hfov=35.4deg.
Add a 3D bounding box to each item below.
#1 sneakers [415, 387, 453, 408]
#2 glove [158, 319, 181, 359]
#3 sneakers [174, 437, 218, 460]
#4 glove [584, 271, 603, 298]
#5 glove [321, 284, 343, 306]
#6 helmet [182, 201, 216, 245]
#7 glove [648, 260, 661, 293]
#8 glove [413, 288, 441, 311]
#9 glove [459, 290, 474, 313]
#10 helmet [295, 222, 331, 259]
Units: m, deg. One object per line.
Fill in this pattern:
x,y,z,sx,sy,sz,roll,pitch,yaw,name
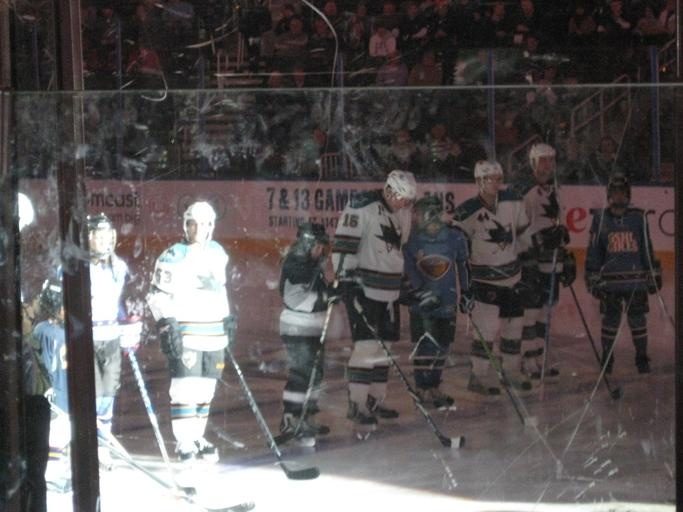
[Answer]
0.441,0.663,5.034,0.156,0.090,0.043,12,-3,2,sneakers
-0.820,0.383,5.073,0.092,0.192,0.044,-3,0,-3,glove
-0.675,0.917,5.063,0.123,0.047,0.128,1,-2,-29,sneakers
1.188,0.125,4.977,0.104,0.112,0.083,2,1,22,glove
-0.045,0.172,5.112,0.101,0.106,0.077,4,-3,-4,glove
-0.663,-0.166,5.035,0.127,0.190,0.179,8,8,-11,helmet
1.474,0.093,5.020,0.040,0.128,0.089,-2,-6,-4,glove
0.400,0.201,5.055,0.093,0.080,0.036,-2,11,-1,glove
0.592,0.212,5.062,0.058,0.106,0.032,-6,4,-17,glove
-0.139,-0.104,5.084,0.183,0.195,0.142,0,26,-3,helmet
